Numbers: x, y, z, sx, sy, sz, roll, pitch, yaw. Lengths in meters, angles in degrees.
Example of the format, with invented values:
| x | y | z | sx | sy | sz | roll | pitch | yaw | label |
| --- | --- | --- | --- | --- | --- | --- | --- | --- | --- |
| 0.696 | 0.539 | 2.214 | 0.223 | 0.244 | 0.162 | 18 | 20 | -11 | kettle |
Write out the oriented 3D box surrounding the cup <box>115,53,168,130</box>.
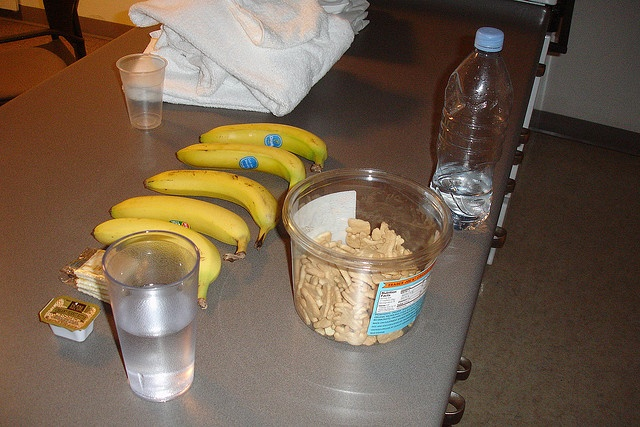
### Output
| x | y | z | sx | sy | sz | roll | pitch | yaw | label |
| --- | --- | --- | --- | --- | --- | --- | --- | --- | --- |
| -0.417 | -0.286 | 1.249 | 0.131 | 0.148 | 0.121 | 5 | 33 | -3 | cup |

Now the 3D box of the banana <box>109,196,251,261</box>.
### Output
| x | y | z | sx | sy | sz | roll | pitch | yaw | label |
| --- | --- | --- | --- | --- | --- | --- | --- | --- | --- |
| -0.260 | 0.017 | 1.019 | 0.263 | 0.064 | 0.109 | 12 | 43 | -7 | banana |

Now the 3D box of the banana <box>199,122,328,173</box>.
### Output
| x | y | z | sx | sy | sz | roll | pitch | yaw | label |
| --- | --- | --- | --- | --- | --- | --- | --- | --- | --- |
| -0.136 | -0.152 | 1.243 | 0.363 | 0.154 | 0.095 | -1 | 74 | -22 | banana |

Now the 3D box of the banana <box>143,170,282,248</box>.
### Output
| x | y | z | sx | sy | sz | roll | pitch | yaw | label |
| --- | --- | --- | --- | --- | --- | --- | --- | --- | --- |
| -0.196 | -0.049 | 1.058 | 0.273 | 0.053 | 0.150 | 19 | 36 | 15 | banana |

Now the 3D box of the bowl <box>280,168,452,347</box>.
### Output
| x | y | z | sx | sy | sz | roll | pitch | yaw | label |
| --- | --- | --- | --- | --- | --- | --- | --- | --- | --- |
| 0.077 | 0.071 | 0.943 | 0.257 | 0.232 | 0.234 | 2 | 31 | -1 | bowl |

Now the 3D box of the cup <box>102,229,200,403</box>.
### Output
| x | y | z | sx | sy | sz | roll | pitch | yaw | label |
| --- | --- | --- | --- | --- | --- | --- | --- | --- | --- |
| -0.257 | 0.164 | 0.813 | 0.158 | 0.241 | 0.150 | 6 | 33 | -4 | cup |
